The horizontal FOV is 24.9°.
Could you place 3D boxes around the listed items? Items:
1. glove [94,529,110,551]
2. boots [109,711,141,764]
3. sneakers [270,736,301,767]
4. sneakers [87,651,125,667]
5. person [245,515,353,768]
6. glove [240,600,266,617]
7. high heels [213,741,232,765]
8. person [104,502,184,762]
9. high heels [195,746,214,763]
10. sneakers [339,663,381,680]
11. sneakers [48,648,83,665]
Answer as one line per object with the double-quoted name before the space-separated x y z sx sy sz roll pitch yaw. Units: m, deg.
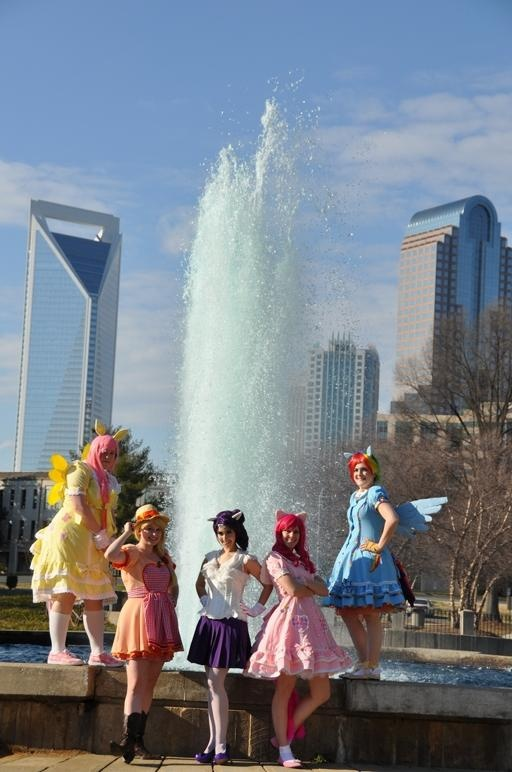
"glove" -1.086 1.101 8.258 0.137 0.137 0.135 4 1 31
"boots" -0.827 2.258 7.451 0.165 0.308 0.204 0 -8 17
"sneakers" 0.205 2.404 7.500 0.092 0.105 0.257 -3 -21 -12
"sneakers" -1.025 1.945 8.216 0.317 0.126 0.111 3 -2 -3
"person" 0.287 1.675 7.821 0.653 1.643 0.610 1 -8 4
"glove" -0.017 1.535 7.958 0.106 0.057 0.142 -3 -20 42
"high heels" -0.218 2.378 7.502 0.096 0.128 0.302 -5 -20 18
"person" -0.764 1.633 7.849 0.536 1.647 0.752 3 -8 -6
"high heels" -0.325 2.404 7.513 0.124 0.066 0.177 2 -7 -4
"sneakers" 0.723 2.025 8.214 0.303 0.112 0.120 -7 -12 41
"sneakers" -1.329 1.892 8.101 0.269 0.097 0.096 -1 -6 14
